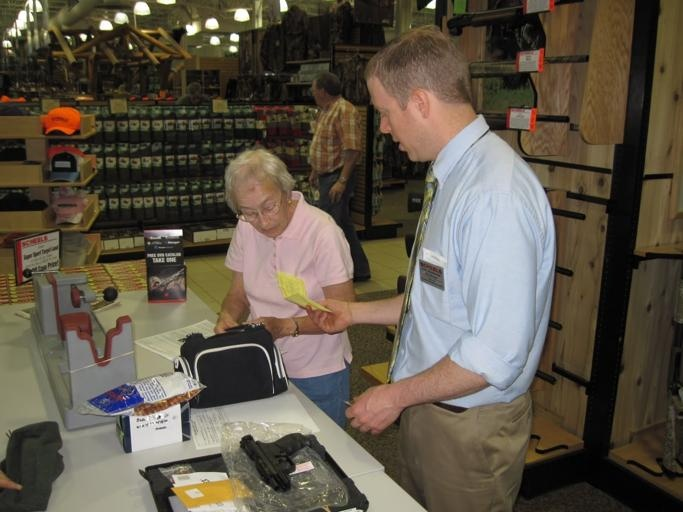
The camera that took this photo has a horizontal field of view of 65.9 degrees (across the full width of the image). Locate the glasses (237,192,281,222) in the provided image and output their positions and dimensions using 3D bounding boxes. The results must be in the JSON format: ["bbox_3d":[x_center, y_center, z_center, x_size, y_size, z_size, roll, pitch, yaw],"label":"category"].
[{"bbox_3d":[-0.382,-0.203,2.321,0.238,0.117,0.101,-1,14,23],"label":"glasses"}]

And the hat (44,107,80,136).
[{"bbox_3d":[-2.732,-1.326,5.166,0.241,0.215,0.371,0,16,-16],"label":"hat"}]

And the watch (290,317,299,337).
[{"bbox_3d":[-0.194,0.312,2.270,0.020,0.063,0.050,-4,-1,11],"label":"watch"}]

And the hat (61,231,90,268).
[{"bbox_3d":[-2.570,-0.059,5.062,0.225,0.413,0.394,-2,14,-27],"label":"hat"}]

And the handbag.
[{"bbox_3d":[-0.412,0.424,2.023,0.409,0.315,0.218,-1,-13,-25],"label":"handbag"}]

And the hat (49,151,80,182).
[{"bbox_3d":[-2.675,-0.864,5.088,0.279,0.293,0.203,-13,15,-27],"label":"hat"}]

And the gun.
[{"bbox_3d":[-0.185,0.580,1.511,0.191,0.067,0.216,-11,15,-16],"label":"gun"}]

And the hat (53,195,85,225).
[{"bbox_3d":[-2.726,-0.459,5.261,0.301,0.290,0.217,-11,14,-20],"label":"hat"}]
